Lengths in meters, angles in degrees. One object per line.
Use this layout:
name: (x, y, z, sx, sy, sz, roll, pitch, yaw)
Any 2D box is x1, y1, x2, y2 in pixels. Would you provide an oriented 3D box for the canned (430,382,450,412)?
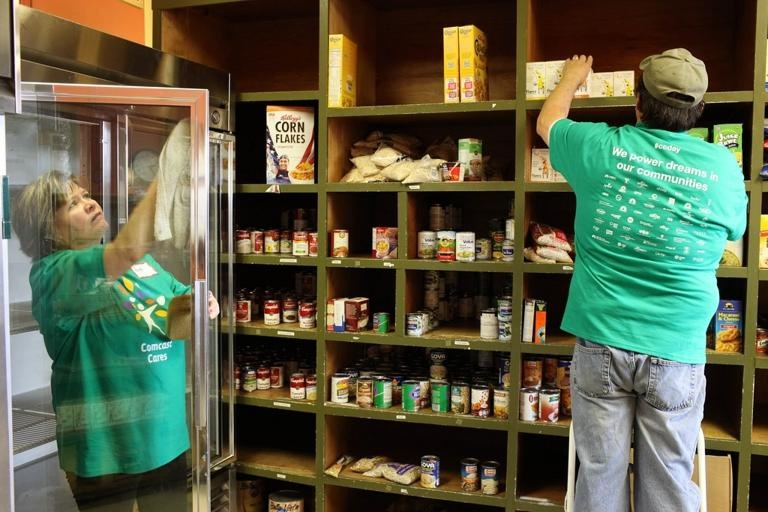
canned: (0.312, 0.796, 3.678, 0.152, 0.150, 0.143, 1, 0, -8)

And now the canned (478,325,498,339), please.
canned: (0.582, 0.424, 3.594, 0.083, 0.077, 0.078, 1, 1, -1)

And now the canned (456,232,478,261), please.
canned: (0.456, -0.047, 3.661, 0.155, 0.156, 0.145, -2, 5, -24)

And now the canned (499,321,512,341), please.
canned: (0.667, 0.404, 3.549, 0.073, 0.119, 0.032, 3, 11, 17)

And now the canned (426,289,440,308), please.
canned: (0.290, 0.259, 3.883, 0.106, 0.103, 0.101, 1, -1, -38)

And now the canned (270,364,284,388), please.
canned: (-0.666, 0.764, 4.110, 0.126, 0.123, 0.119, 1, -2, -23)

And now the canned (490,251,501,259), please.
canned: (0.624, -0.005, 3.636, 0.045, 0.031, 0.044, 0, 0, 35)

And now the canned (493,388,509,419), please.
canned: (0.650, 0.814, 3.572, 0.091, 0.160, 0.047, 5, 12, 24)

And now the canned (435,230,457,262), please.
canned: (0.341, -0.061, 3.621, 0.125, 0.160, 0.091, 4, 12, 22)

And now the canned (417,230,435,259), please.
canned: (0.235, -0.071, 3.681, 0.147, 0.145, 0.138, 0, 1, -20)

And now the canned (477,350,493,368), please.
canned: (0.613, 0.623, 3.924, 0.097, 0.099, 0.092, 0, 4, -6)

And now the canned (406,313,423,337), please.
canned: (0.175, 0.389, 3.651, 0.117, 0.119, 0.118, -1, 2, 9)

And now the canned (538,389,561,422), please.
canned: (0.897, 0.807, 3.546, 0.168, 0.168, 0.162, 0, 1, 12)

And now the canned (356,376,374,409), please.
canned: (-0.108, 0.788, 3.752, 0.097, 0.162, 0.078, -1, 11, -2)

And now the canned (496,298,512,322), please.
canned: (0.668, 0.291, 3.565, 0.079, 0.121, 0.070, 2, 11, 13)

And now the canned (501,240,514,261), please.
canned: (0.689, -0.029, 3.569, 0.046, 0.117, 0.131, -2, 11, -11)

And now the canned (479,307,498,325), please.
canned: (0.589, 0.331, 3.638, 0.083, 0.070, 0.078, 1, 4, -7)

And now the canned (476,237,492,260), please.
canned: (0.567, -0.031, 3.601, 0.110, 0.113, 0.108, -1, 1, 21)

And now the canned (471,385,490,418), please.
canned: (0.551, 0.803, 3.625, 0.123, 0.173, 0.104, -1, 11, -5)

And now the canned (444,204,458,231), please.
canned: (0.405, -0.228, 3.897, 0.092, 0.155, 0.170, 0, 2, 15)

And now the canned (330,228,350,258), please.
canned: (-0.243, -0.077, 3.796, 0.135, 0.153, 0.123, -6, 12, -29)

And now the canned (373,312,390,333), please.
canned: (-0.011, 0.390, 3.808, 0.113, 0.112, 0.109, 0, 0, 11)

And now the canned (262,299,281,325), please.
canned: (-0.674, 0.350, 4.032, 0.140, 0.193, 0.137, 0, 2, 3)

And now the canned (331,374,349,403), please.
canned: (-0.253, 0.780, 3.810, 0.113, 0.162, 0.077, -2, 11, -9)

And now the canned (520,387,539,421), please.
canned: (0.805, 0.825, 3.586, 0.118, 0.168, 0.116, 0, 3, 25)

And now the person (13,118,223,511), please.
person: (-1.202, 0.298, 2.955, 0.731, 1.816, 0.209, -4, 12, -20)

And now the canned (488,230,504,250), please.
canned: (0.643, -0.087, 3.667, 0.086, 0.112, 0.041, 7, 13, 35)

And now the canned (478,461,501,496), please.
canned: (0.587, 1.227, 3.596, 0.148, 0.153, 0.152, -1, -3, 39)

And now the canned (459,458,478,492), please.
canned: (0.477, 1.219, 3.624, 0.156, 0.149, 0.147, 0, 1, -9)

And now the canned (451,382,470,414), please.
canned: (0.441, 0.818, 3.704, 0.146, 0.147, 0.139, 0, -5, 3)

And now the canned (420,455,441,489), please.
canned: (0.263, 1.237, 3.695, 0.188, 0.140, 0.180, 1, -10, 9)

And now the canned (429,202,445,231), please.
canned: (0.316, -0.224, 3.789, 0.094, 0.142, 0.168, 0, 11, 4)

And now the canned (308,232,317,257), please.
canned: (-0.419, -0.071, 3.827, 0.048, 0.138, 0.096, -3, 11, -13)

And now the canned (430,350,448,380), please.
canned: (0.320, 0.638, 3.774, 0.093, 0.159, 0.142, 0, 11, 3)

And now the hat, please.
hat: (1.273, -0.819, 2.827, 0.309, 0.152, 0.396, 15, 40, 2)

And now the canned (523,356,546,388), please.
canned: (0.853, 0.668, 3.676, 0.135, 0.136, 0.129, 2, -10, 3)

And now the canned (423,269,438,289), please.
canned: (0.286, 0.134, 3.892, 0.104, 0.107, 0.099, 3, -6, -36)
